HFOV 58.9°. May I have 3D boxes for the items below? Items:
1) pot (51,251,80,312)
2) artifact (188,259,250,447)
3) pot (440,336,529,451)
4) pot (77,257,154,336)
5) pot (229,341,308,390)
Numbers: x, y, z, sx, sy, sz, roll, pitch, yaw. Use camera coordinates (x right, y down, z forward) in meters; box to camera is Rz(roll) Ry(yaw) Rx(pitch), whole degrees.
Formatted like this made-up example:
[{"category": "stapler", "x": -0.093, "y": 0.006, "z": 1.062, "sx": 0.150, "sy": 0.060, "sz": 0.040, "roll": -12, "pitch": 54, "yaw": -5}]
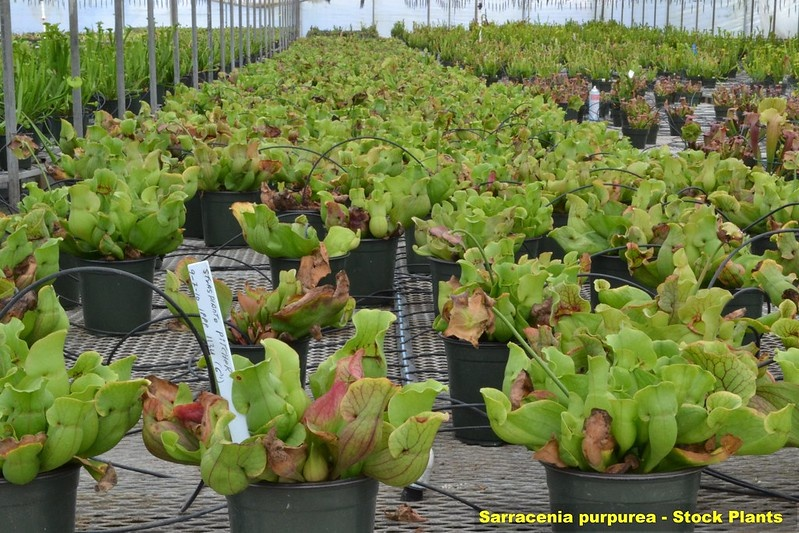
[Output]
[{"category": "pot", "x": -2.021, "y": 0.085, "z": 4.288, "sx": 0.142, "sy": 0.378, "sz": 0.384, "roll": -4, "pitch": 11, "yaw": -25}, {"category": "artifact", "x": -0.584, "y": 0.258, "z": 2.297, "sx": 0.119, "sy": 0.544, "sz": 0.417, "roll": -5, "pitch": 11, "yaw": -30}, {"category": "pot", "x": 0.325, "y": 0.535, "z": 3.126, "sx": 0.365, "sy": 0.461, "sz": 0.394, "roll": 1, "pitch": 5, "yaw": 0}, {"category": "pot", "x": -1.593, "y": 0.121, "z": 4.107, "sx": 0.438, "sy": 0.415, "sz": 0.502, "roll": 1, "pitch": 2, "yaw": -6}, {"category": "pot", "x": -0.551, "y": 0.395, "z": 3.163, "sx": 0.208, "sy": 0.187, "sz": 0.239, "roll": 0, "pitch": 2, "yaw": 6}]
